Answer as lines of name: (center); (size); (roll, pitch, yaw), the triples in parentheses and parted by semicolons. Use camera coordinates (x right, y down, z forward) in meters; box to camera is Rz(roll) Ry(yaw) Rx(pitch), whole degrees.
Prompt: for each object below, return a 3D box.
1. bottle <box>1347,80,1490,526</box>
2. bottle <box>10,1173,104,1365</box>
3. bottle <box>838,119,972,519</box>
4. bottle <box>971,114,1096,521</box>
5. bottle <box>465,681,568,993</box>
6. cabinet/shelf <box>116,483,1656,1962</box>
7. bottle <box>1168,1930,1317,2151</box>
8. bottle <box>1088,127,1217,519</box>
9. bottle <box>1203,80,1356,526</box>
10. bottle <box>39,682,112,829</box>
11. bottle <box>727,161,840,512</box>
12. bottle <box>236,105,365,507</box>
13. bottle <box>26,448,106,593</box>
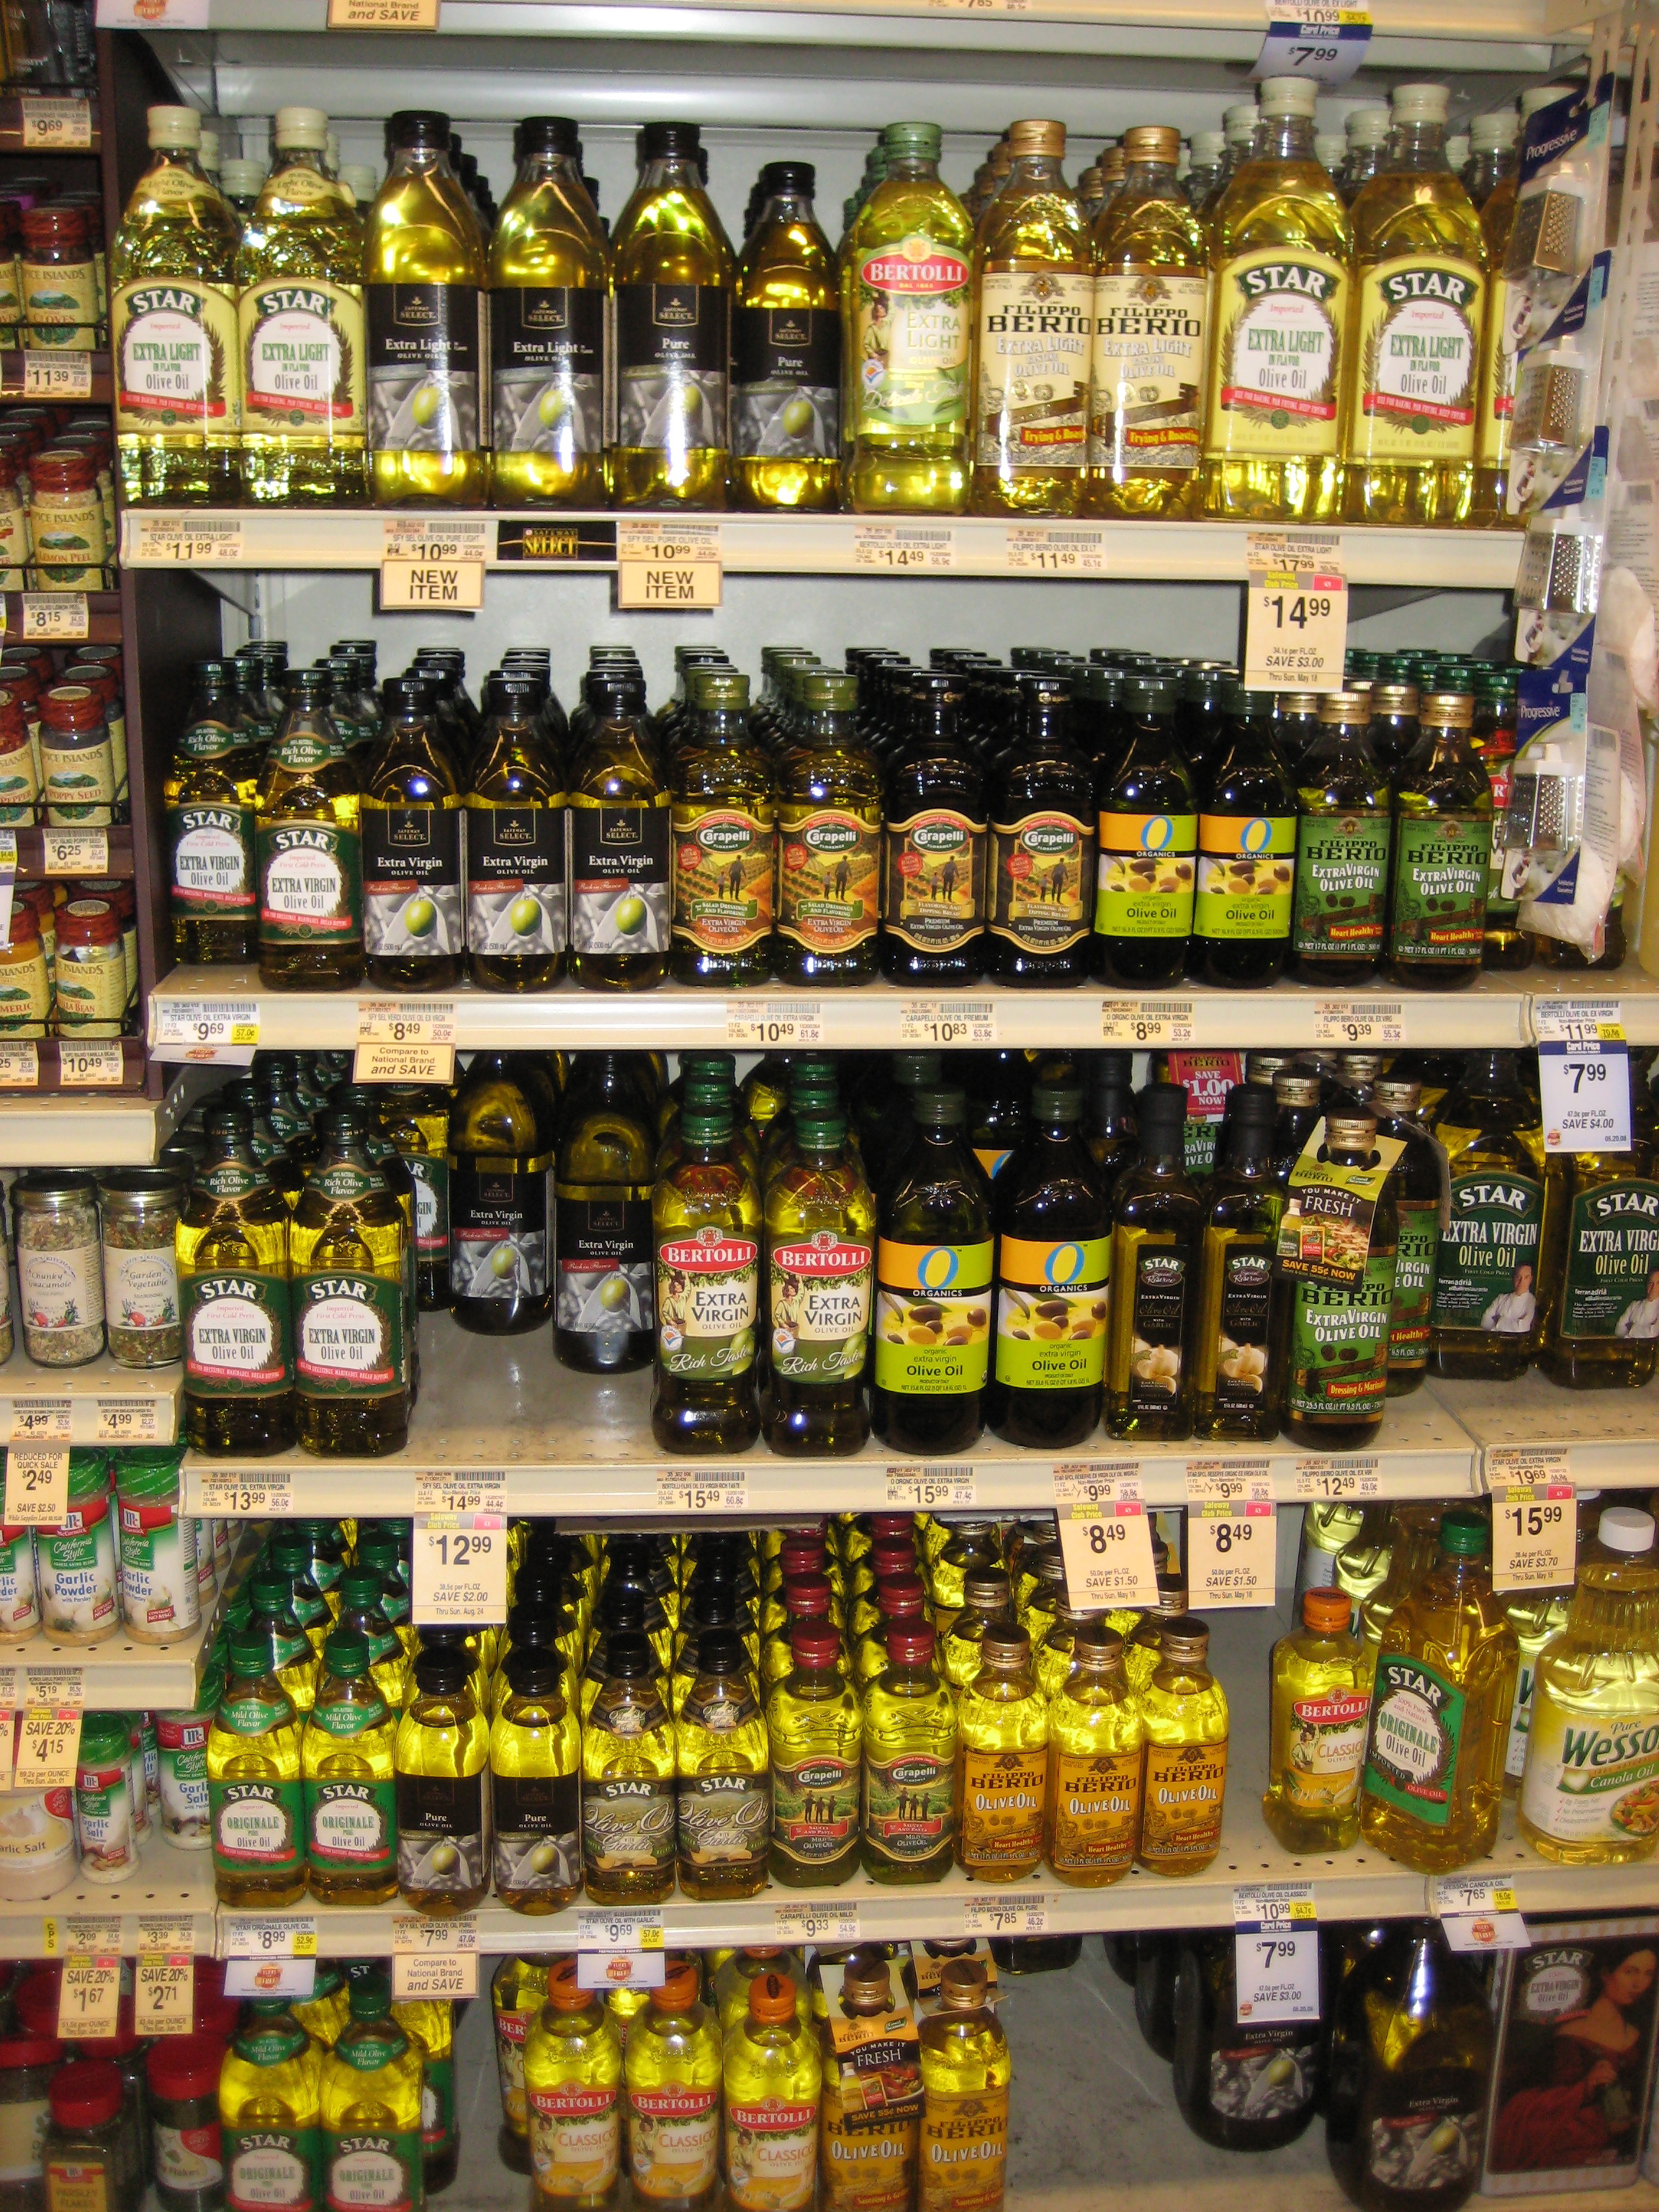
bottle: (0.594, -0.794, 1.865); (0.130, 0.403, 0.252); (1, 14, 19)
bottle: (-0.805, 0.171, 1.923); (0.097, 0.214, 0.060); (-5, 13, -9)
bottle: (0.070, -0.745, 1.771); (0.131, 0.342, 0.198); (-4, 13, -2)
bottle: (0.195, -0.753, 1.791); (0.120, 0.364, 0.209); (-2, 13, 7)
bottle: (-0.311, -0.274, 1.841); (0.120, 0.302, 0.111); (-3, 13, 1)
cabinet/shelf: (0.051, -0.038, 2.256); (2.001, 1.219, 0.986); (0, 9, -4)
bottle: (0.491, 1.120, 2.209); (0.184, 0.291, 0.183); (-3, 13, 1)
bottle: (0.308, -0.755, 1.796); (0.119, 0.359, 0.162); (-2, 13, 8)
bottle: (0.440, -0.781, 1.832); (0.144, 0.398, 0.231); (0, 13, 15)
bottle: (-0.764, -0.358, 1.874); (0.074, 0.146, 0.104); (-8, 14, -21)
bottle: (-0.046, -0.725, 1.756); (0.113, 0.319, 0.186); (-3, 13, 1)
bottle: (-0.499, -0.742, 1.727); (0.140, 0.354, 0.149); (-3, 13, 1)
bottle: (-0.757, -0.585, 1.840); (0.077, 0.146, 0.104); (-12, 15, -33)
